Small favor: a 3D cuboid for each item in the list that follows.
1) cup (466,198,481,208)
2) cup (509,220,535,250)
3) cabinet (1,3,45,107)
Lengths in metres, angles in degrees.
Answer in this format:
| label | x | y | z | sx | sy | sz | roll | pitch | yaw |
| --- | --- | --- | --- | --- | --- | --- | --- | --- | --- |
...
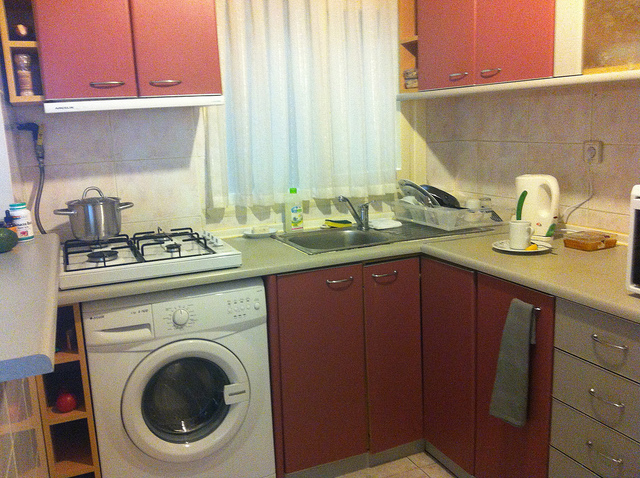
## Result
| label | x | y | z | sx | sy | sz | roll | pitch | yaw |
| --- | --- | --- | --- | --- | --- | --- | --- | --- | --- |
| cup | 0.912 | -0.206 | 2.868 | 0.069 | 0.064 | 0.070 | 3 | 14 | -1 |
| cup | 0.942 | -0.017 | 2.213 | 0.086 | 0.121 | 0.136 | -9 | 10 | -13 |
| cabinet | -1.385 | -0.852 | 2.204 | 0.180 | 0.474 | 0.250 | -13 | 15 | -26 |
